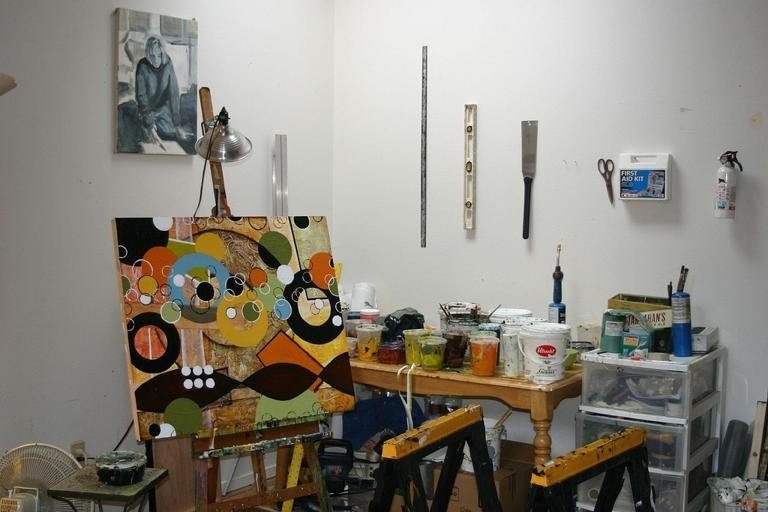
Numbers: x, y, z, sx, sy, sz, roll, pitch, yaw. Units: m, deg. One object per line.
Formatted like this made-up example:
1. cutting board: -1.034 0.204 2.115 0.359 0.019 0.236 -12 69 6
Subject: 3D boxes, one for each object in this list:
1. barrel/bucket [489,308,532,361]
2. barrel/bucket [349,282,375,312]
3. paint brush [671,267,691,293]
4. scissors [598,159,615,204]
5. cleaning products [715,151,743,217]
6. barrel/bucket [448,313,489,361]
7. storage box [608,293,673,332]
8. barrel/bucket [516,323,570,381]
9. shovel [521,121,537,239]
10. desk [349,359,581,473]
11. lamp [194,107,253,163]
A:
1. barrel/bucket: 0.721 0.444 3.886 0.256 0.282 0.264 0 2 0
2. barrel/bucket: -0.133 0.255 4.271 0.156 0.174 0.159 1 -5 0
3. paint brush: 1.733 0.144 3.908 0.041 0.149 0.043 17 11 37
4. scissors: 1.377 -0.455 4.133 0.093 0.270 0.021 -11 -1 30
5. cleaning products: 1.977 -0.406 3.845 0.134 0.377 0.131 1 4 28
6. barrel/bucket: 0.469 0.465 3.835 0.214 0.199 0.233 0 -1 0
7. storage box: 1.473 0.293 3.787 0.322 0.238 0.180 1 0 40
8. barrel/bucket: 0.907 0.505 3.646 0.299 0.297 0.296 -5 11 1
9. shovel: 0.945 -0.489 4.345 0.109 0.768 0.065 0 4 10
10. desk: 0.582 0.992 4.101 1.322 0.675 0.763 -2 0 43
11. lamp: -0.867 -0.629 3.619 0.277 0.228 0.291 1 36 -4
